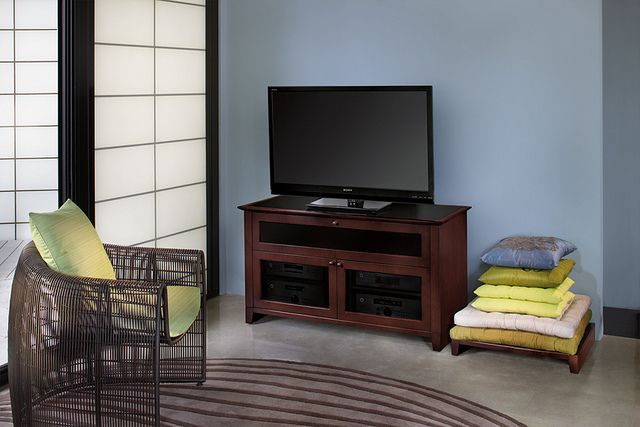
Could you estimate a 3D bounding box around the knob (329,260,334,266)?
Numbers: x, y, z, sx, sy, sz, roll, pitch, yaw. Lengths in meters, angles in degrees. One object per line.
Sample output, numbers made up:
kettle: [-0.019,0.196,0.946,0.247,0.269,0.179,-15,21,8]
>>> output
knob: [0.088,0.406,4.136,0.042,0.030,0.041,1,-1,11]

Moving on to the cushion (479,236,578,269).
cushion: [1.557,0.296,3.825,0.366,0.110,0.388,0,11,32]

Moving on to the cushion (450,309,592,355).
cushion: [1.452,0.904,3.761,0.922,0.139,0.207,3,12,17]

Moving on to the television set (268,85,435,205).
television set: [0.230,-0.580,4.259,1.501,0.947,0.059,5,13,25]

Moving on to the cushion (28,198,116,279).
cushion: [-1.480,0.190,3.095,0.542,0.491,0.160,-4,3,27]

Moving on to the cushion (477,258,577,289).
cushion: [1.670,0.529,4.050,0.665,0.176,0.693,-5,-9,43]
